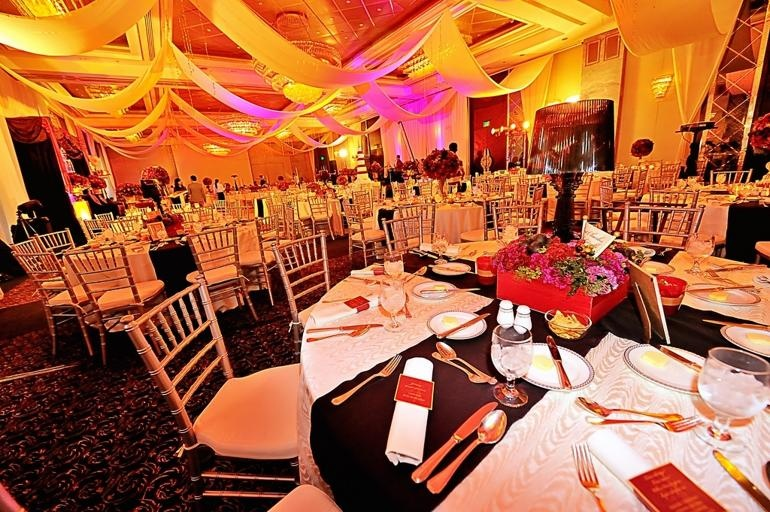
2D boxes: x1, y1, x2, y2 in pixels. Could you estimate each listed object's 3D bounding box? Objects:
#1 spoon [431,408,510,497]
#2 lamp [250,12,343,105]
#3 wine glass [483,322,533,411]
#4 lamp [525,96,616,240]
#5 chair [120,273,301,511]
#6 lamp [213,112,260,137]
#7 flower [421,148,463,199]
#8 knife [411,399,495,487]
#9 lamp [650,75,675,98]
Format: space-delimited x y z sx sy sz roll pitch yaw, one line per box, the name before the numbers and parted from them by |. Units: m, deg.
spoon | 0.649 1.513 3.316 0.753 0.109 0.149 -39 67 -19
lamp | -1.777 -4.041 8.959 1.583 1.662 2.326 -8 15 -12
wine glass | 1.006 0.866 3.479 0.305 0.592 0.281 -1 16 14
lamp | 1.672 -0.761 3.984 0.694 1.232 0.330 2 17 24
chair | -1.667 1.268 4.264 1.205 2.114 2.150 -17 19 -37
lamp | -4.238 -3.832 12.994 1.603 0.534 1.531 0 13 -5
flower | 0.961 -1.355 7.238 0.634 0.657 0.620 3 4 -4
knife | 0.512 1.450 3.336 0.901 0.063 0.134 -34 64 -24
lamp | 6.066 -3.706 9.563 0.148 0.566 0.494 -13 23 -33
